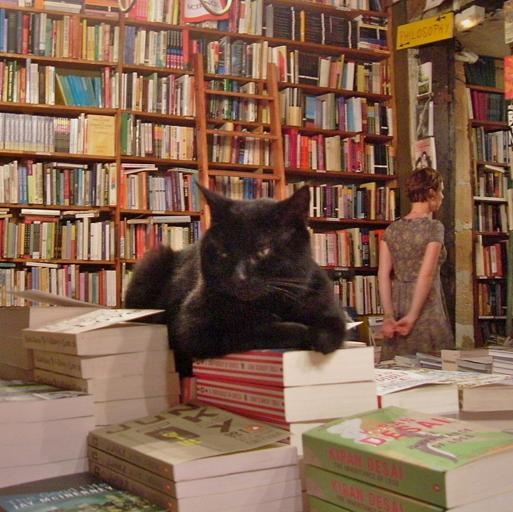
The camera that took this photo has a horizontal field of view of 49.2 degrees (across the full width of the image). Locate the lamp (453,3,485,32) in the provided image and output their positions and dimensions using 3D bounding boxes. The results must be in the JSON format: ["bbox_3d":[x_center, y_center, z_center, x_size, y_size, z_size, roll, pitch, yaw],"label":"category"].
[{"bbox_3d":[1.448,-1.624,3.840,0.181,0.106,0.227,7,-8,-9],"label":"lamp"}]

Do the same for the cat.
[{"bbox_3d":[-0.015,0.040,1.220,0.463,0.256,0.657,-4,-1,-19],"label":"cat"}]
